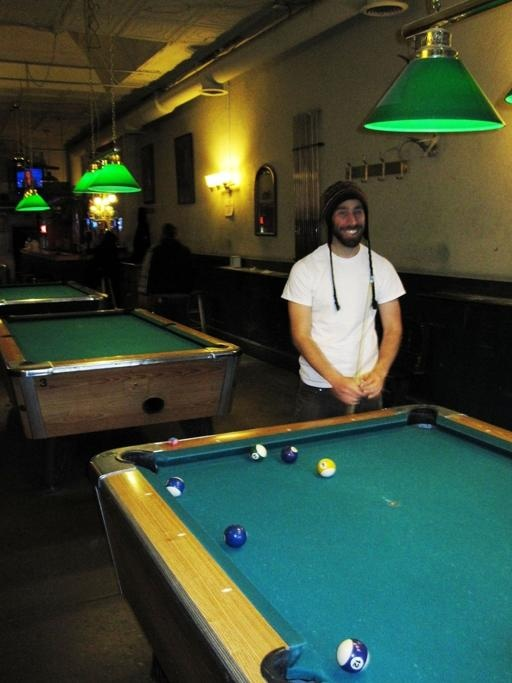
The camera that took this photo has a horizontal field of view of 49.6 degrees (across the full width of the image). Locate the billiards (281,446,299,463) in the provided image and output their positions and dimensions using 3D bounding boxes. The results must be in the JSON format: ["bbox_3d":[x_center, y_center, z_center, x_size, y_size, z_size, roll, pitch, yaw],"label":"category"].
[{"bbox_3d":[0.089,0.303,1.483,0.043,0.041,0.045,-1,1,38],"label":"billiards"}]

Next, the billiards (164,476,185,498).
[{"bbox_3d":[-0.188,0.343,1.293,0.031,0.031,0.039,32,36,-12],"label":"billiards"}]

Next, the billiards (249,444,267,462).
[{"bbox_3d":[0.002,0.306,1.515,0.045,0.043,0.040,7,-6,-16],"label":"billiards"}]

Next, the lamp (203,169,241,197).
[{"bbox_3d":[-0.437,-2.145,7.428,0.197,0.294,0.628,-14,18,-34],"label":"lamp"}]

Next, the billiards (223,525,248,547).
[{"bbox_3d":[-0.038,0.362,1.023,0.043,0.039,0.040,0,14,-29],"label":"billiards"}]

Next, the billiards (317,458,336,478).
[{"bbox_3d":[0.181,0.313,1.406,0.048,0.043,0.045,4,21,9],"label":"billiards"}]

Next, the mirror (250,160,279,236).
[{"bbox_3d":[0.117,-1.647,6.460,0.054,0.679,0.602,-5,16,-30],"label":"mirror"}]

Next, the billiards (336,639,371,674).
[{"bbox_3d":[0.119,0.388,0.680,0.033,0.035,0.034,23,25,40],"label":"billiards"}]
